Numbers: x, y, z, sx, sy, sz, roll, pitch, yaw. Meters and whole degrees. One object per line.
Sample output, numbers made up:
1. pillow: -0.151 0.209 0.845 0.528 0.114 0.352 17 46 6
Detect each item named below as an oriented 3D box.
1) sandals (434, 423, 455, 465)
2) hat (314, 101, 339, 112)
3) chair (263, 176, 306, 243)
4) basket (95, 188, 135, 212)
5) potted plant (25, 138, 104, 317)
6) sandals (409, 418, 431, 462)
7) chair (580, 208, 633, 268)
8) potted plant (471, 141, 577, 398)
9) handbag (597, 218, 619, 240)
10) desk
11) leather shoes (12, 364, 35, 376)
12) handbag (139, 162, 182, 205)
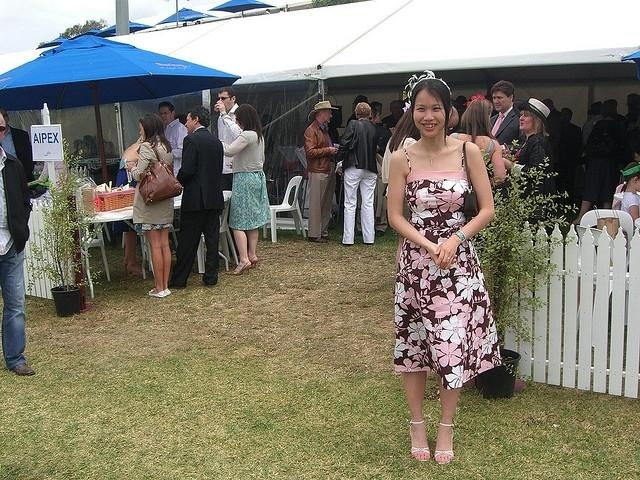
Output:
1. sandals: 0.814 1.304 3.737 0.105 0.217 0.307 -1 5 17
2. hat: 0.077 -2.220 9.553 0.336 0.113 0.304 -3 2 18
3. chair: -0.661 -0.579 10.217 0.723 1.037 0.638 -9 11 -22
4. basket: -2.645 -0.506 7.344 0.270 0.135 0.373 3 12 21
5. potted plant: -2.974 -0.132 6.616 0.796 1.913 0.953 -8 14 -27
6. sandals: 0.651 1.312 3.783 0.105 0.218 0.311 -2 12 2
7. chair: 2.395 -0.005 4.778 0.455 0.618 0.353 2 8 18
8. potted plant: 1.455 0.384 4.531 0.893 1.764 0.885 10 15 38
9. handbag: 2.543 -0.089 5.035 0.161 0.222 0.118 6 10 22
10. desk: -2.041 -0.095 8.039 1.432 0.720 1.458 5 9 24
11. leather shoes: -2.612 1.135 5.039 0.228 0.095 0.085 -2 7 21
12. handbag: -1.903 -0.760 6.633 0.463 0.575 0.266 -23 46 -24
